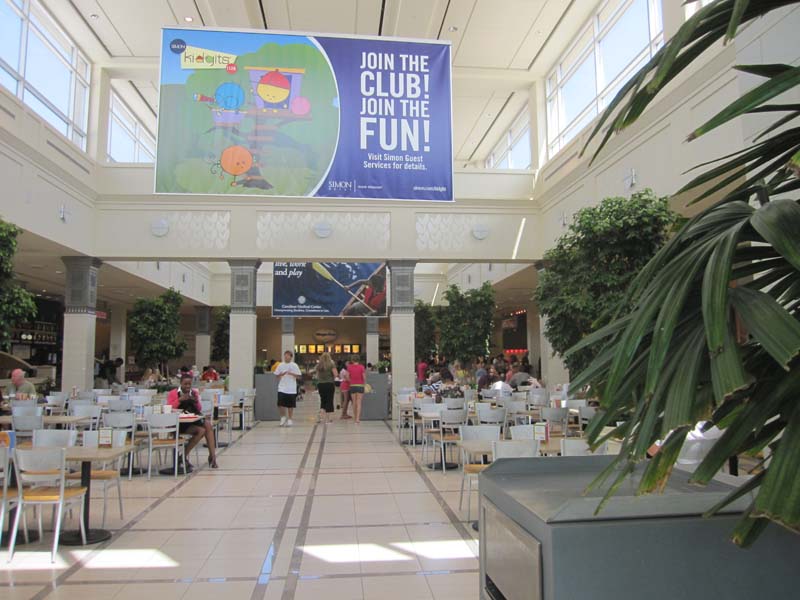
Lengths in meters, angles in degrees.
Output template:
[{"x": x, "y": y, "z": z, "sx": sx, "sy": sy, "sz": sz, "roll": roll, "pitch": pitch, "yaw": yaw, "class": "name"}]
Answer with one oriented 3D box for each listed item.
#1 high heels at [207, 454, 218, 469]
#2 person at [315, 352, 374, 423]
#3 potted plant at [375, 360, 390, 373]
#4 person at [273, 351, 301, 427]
[{"x": -2.649, "y": 2.311, "z": 9.010, "sx": 0.099, "sy": 0.190, "sz": 0.303, "roll": 5, "pitch": -15, "yaw": -30, "class": "high heels"}, {"x": -1.271, "y": 1.957, "z": 14.151, "sx": 1.077, "sy": 1.562, "sz": 1.891, "roll": 0, "pitch": -3, "yaw": -4, "class": "person"}, {"x": -0.564, "y": 2.212, "z": 20.667, "sx": 0.312, "sy": 0.369, "sz": 0.336, "roll": 1, "pitch": 2, "yaw": 39, "class": "potted plant"}, {"x": -2.419, "y": 1.914, "z": 13.552, "sx": 0.466, "sy": 1.617, "sz": 1.979, "roll": 0, "pitch": -3, "yaw": -9, "class": "person"}]
